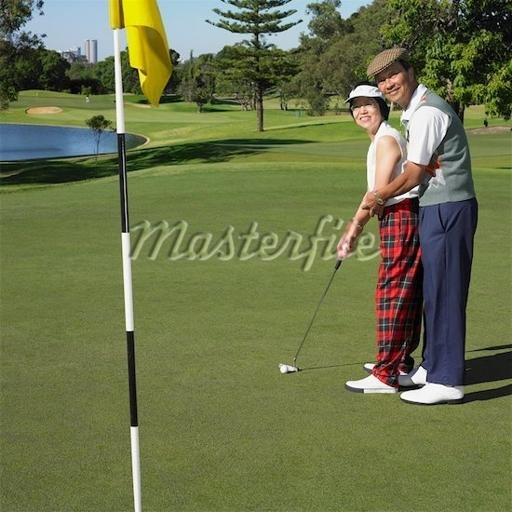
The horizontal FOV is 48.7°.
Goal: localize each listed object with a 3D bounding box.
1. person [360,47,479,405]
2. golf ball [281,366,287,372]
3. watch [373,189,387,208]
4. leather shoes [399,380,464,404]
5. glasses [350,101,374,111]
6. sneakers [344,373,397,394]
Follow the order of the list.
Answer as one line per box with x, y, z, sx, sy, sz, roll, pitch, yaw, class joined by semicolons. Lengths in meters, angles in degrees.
0.997;-0.192;3.413;0.614;2.107;0.499;5;12;27;person
0.184;0.745;3.729;0.042;0.050;0.052;3;-2;-23;golf ball
0.740;-0.346;3.373;0.042;0.102;0.077;-1;-17;16;watch
1.044;0.795;3.367;0.323;0.128;0.146;-1;-5;5;leather shoes
0.684;-0.955;3.623;0.076;0.022;0.079;-5;-14;26;glasses
0.717;0.780;3.498;0.284;0.106;0.121;2;-4;-7;sneakers
